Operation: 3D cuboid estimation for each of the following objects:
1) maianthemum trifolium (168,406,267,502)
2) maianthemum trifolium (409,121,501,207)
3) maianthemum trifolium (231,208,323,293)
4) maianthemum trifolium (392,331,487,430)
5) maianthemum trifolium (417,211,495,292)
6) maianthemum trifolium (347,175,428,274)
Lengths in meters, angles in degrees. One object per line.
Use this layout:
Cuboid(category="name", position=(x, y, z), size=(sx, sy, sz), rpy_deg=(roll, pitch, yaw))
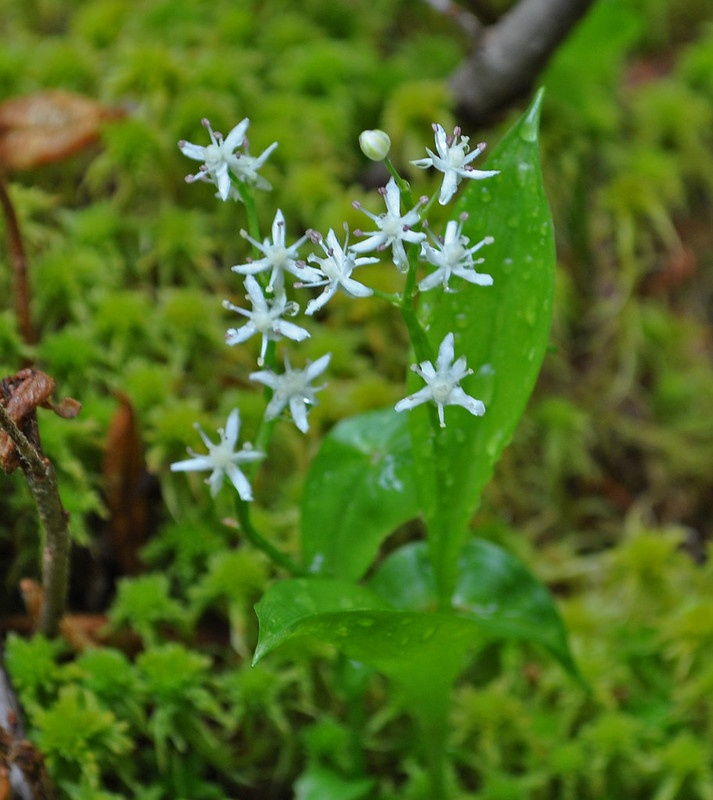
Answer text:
Cuboid(category="maianthemum trifolium", position=(-0.089, 0.032, 0.661), size=(0.048, 0.040, 0.020), rpy_deg=(-20, 115, -37))
Cuboid(category="maianthemum trifolium", position=(0.065, -0.157, 0.633), size=(0.072, 0.072, 0.027), rpy_deg=(12, 97, -8))
Cuboid(category="maianthemum trifolium", position=(-0.051, -0.105, 0.641), size=(0.052, 0.053, 0.021), rpy_deg=(-12, 98, 20))
Cuboid(category="maianthemum trifolium", position=(0.054, -0.016, 0.628), size=(0.049, 0.068, 0.013), rpy_deg=(-16, 59, -6))
Cuboid(category="maianthemum trifolium", position=(0.063, -0.092, 0.631), size=(0.043, 0.049, 0.053), rpy_deg=(5, 83, 1))
Cuboid(category="maianthemum trifolium", position=(0.017, -0.105, 0.620), size=(0.053, 0.027, 0.060), rpy_deg=(-27, 88, -3))
